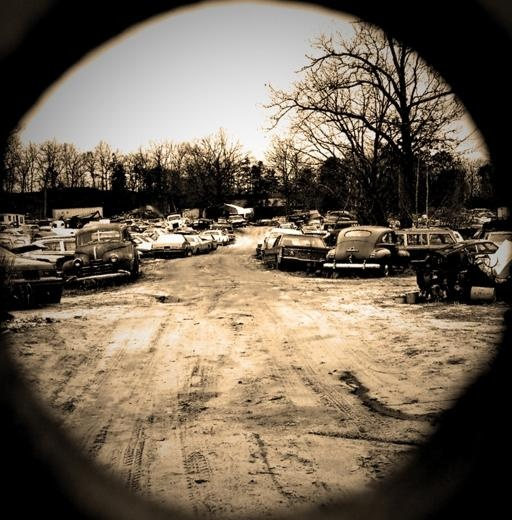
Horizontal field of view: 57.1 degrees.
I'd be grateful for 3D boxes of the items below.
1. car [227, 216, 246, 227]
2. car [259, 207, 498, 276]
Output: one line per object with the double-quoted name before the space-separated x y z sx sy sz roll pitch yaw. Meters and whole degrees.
"car" -2.586 -5.598 65.232 1.603 1.486 2.923 -1 -1 -7
"car" 3.479 -0.378 16.961 6.494 1.664 2.707 2 5 24
